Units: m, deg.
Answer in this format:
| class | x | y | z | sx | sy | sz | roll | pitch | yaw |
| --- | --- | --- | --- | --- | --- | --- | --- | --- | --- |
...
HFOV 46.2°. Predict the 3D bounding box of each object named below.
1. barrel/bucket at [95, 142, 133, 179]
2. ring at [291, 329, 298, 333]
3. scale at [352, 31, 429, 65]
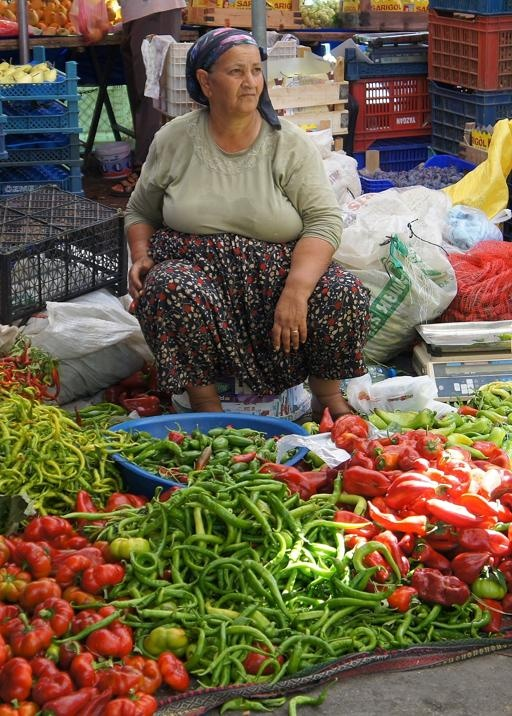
| class | x | y | z | sx | sy | sz | roll | pitch | yaw |
| --- | --- | --- | --- | --- | --- | --- | --- | --- | --- |
| barrel/bucket | -1.513 | -2.122 | 6.423 | 0.434 | 0.364 | 0.431 | -11 | 27 | 6 |
| ring | 0.136 | -0.095 | 2.114 | 0.014 | 0.010 | 0.014 | 2 | 0 | 0 |
| scale | 1.141 | -2.573 | 4.996 | 0.612 | 0.202 | 0.558 | -2 | 18 | -8 |
